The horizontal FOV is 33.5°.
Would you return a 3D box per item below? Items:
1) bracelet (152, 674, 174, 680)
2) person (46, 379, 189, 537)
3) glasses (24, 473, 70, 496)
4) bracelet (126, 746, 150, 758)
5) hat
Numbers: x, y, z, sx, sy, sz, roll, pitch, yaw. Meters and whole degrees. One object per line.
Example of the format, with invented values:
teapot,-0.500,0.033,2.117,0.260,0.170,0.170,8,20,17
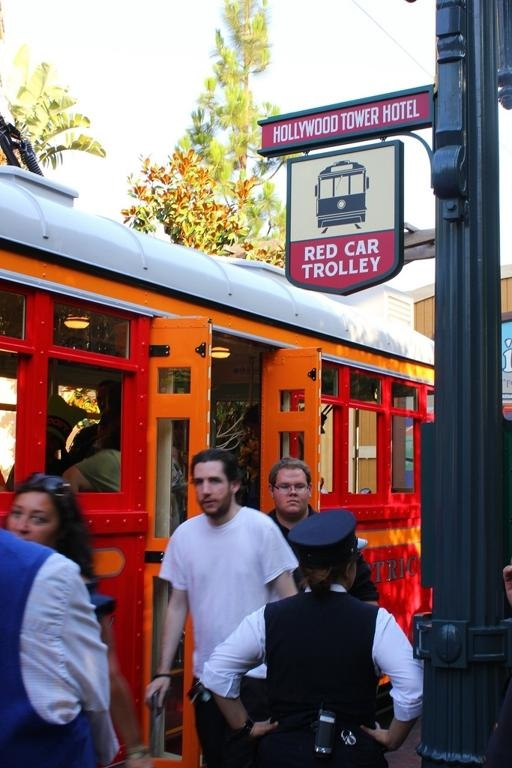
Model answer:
bracelet,-0.346,1.095,3.159,0.056,0.015,0.058,1,-9,-16
person,-0.606,0.350,3.920,0.700,0.666,0.411,-3,-7,29
glasses,-0.490,0.230,1.972,0.058,0.071,0.023,0,15,-3
bracelet,-0.296,0.909,2.090,0.034,0.025,0.044,2,-20,-9
hat,0.182,0.417,2.289,0.130,0.069,0.174,1,20,27
